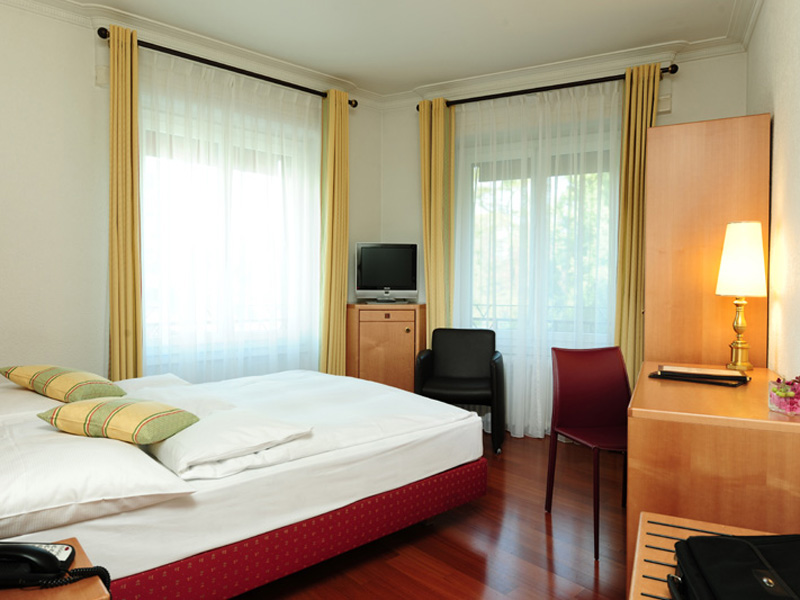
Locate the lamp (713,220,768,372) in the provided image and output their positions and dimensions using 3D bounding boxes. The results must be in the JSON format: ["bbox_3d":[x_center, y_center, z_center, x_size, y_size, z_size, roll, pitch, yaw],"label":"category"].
[{"bbox_3d":[2.151,-0.046,3.865,0.281,0.906,0.437,12,12,35],"label":"lamp"}]

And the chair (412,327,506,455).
[{"bbox_3d":[0.546,0.780,5.318,0.736,0.978,0.681,1,3,13],"label":"chair"}]

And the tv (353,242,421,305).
[{"bbox_3d":[-0.117,-0.271,5.883,0.587,0.539,0.179,0,3,-9],"label":"tv"}]

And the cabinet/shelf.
[{"bbox_3d":[-0.116,0.424,5.521,0.799,1.086,0.389,0,0,-5],"label":"cabinet/shelf"}]
